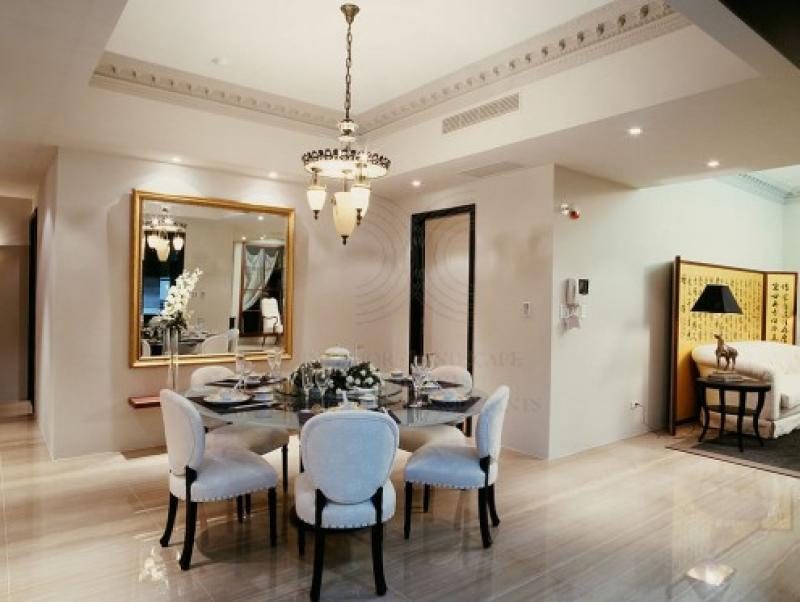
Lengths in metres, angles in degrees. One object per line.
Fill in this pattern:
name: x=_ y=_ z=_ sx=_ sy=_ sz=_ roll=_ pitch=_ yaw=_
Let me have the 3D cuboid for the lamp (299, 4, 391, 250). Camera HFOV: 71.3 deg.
lamp: x=-0.478 y=-1.435 z=4.943 sx=0.709 sy=1.800 sz=1.925 roll=0 pitch=7 yaw=-6

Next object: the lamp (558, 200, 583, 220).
lamp: x=1.740 y=-0.923 z=5.678 sx=0.087 sy=0.166 sz=0.372 roll=7 pitch=9 yaw=43

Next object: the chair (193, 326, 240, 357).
chair: x=-1.941 y=0.423 z=5.994 sx=0.251 sy=0.396 sz=0.297 roll=0 pitch=1 yaw=0

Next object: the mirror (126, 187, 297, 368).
mirror: x=-2.063 y=-0.264 z=5.867 sx=1.779 sy=2.049 sz=0.143 roll=3 pitch=-4 yaw=-36

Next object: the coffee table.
coffee table: x=3.762 y=1.201 z=6.294 sx=0.775 sy=0.890 sz=0.729 roll=6 pitch=-7 yaw=-43

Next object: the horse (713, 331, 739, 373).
horse: x=3.752 y=0.620 z=6.408 sx=0.213 sy=0.405 sz=0.398 roll=5 pitch=8 yaw=31
